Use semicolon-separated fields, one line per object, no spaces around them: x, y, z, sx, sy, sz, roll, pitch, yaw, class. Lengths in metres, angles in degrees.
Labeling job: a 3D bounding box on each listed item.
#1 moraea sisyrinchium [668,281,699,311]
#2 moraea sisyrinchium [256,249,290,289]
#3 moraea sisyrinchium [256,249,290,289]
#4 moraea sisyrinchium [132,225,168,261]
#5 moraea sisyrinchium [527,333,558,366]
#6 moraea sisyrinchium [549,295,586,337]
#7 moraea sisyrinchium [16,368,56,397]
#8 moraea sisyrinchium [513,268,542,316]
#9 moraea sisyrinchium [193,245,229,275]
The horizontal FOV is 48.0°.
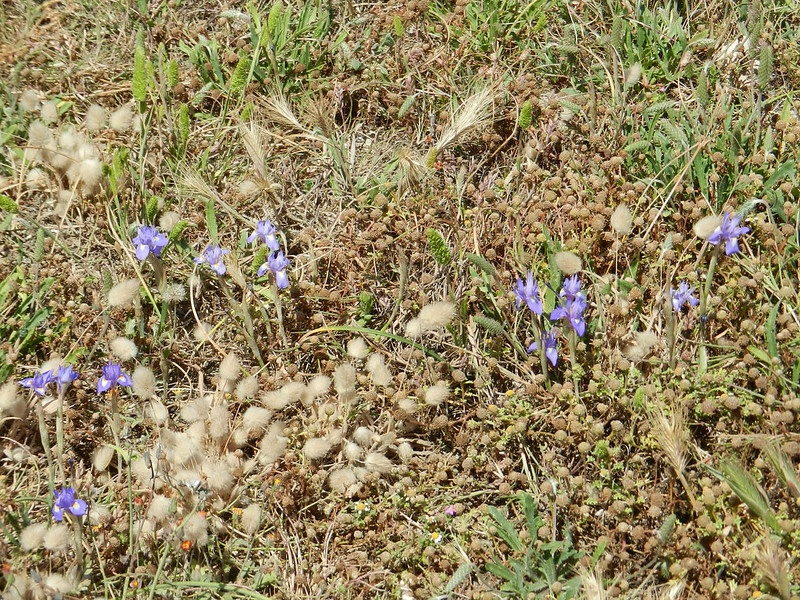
1.297;0.006;4.109;0.132;0.057;0.168;-8;87;-16;moraea sisyrinchium
-0.578;-0.143;4.197;0.149;0.100;0.176;-17;64;-13;moraea sisyrinchium
-0.584;-0.133;4.185;0.149;0.098;0.176;-19;65;-13;moraea sisyrinchium
-1.160;-0.258;4.158;0.141;0.090;0.168;21;55;-21;moraea sisyrinchium
0.648;0.212;4.015;0.045;0.130;0.156;-14;81;-18;moraea sisyrinchium
0.743;0.082;4.000;0.145;0.170;0.184;-2;59;4;moraea sisyrinchium
-1.572;0.393;3.909;0.144;0.077;0.166;-6;26;-16;moraea sisyrinchium
0.590;-0.035;4.012;0.188;0.131;0.081;24;64;-20;moraea sisyrinchium
-0.871;-0.188;4.158;0.129;0.059;0.164;-20;57;-13;moraea sisyrinchium
